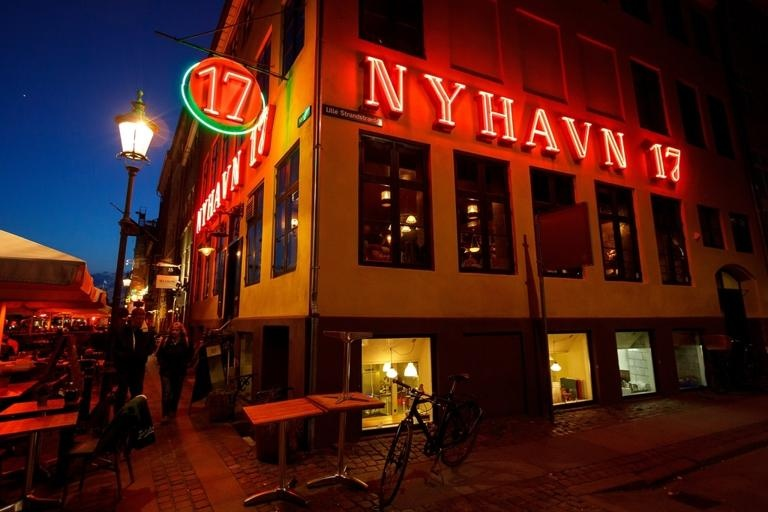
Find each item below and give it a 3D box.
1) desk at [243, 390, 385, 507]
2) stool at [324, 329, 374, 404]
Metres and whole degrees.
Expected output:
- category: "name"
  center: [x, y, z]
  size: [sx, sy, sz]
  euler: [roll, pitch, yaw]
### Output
- category: "desk"
  center: [-1.751, 4.286, 12.231]
  size: [2.803, 2.129, 1.282]
  euler: [-4, 14, -18]
- category: "stool"
  center: [-0.814, 2.578, 13.163]
  size: [1.529, 1.828, 1.543]
  euler: [1, -7, 15]
